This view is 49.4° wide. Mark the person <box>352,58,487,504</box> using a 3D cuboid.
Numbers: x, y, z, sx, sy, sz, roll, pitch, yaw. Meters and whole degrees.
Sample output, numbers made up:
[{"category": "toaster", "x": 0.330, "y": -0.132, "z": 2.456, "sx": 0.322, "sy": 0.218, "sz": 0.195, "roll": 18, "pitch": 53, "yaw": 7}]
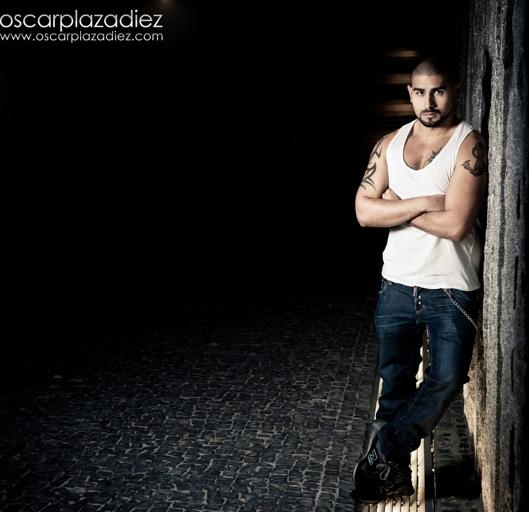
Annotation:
[{"category": "person", "x": 0.513, "y": 0.117, "z": 2.011, "sx": 0.479, "sy": 1.549, "sz": 0.402, "roll": 2, "pitch": 10, "yaw": 27}]

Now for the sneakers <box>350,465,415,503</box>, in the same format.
[{"category": "sneakers", "x": 0.370, "y": 0.813, "z": 2.058, "sx": 0.304, "sy": 0.086, "sz": 0.188, "roll": -1, "pitch": -15, "yaw": 0}]
